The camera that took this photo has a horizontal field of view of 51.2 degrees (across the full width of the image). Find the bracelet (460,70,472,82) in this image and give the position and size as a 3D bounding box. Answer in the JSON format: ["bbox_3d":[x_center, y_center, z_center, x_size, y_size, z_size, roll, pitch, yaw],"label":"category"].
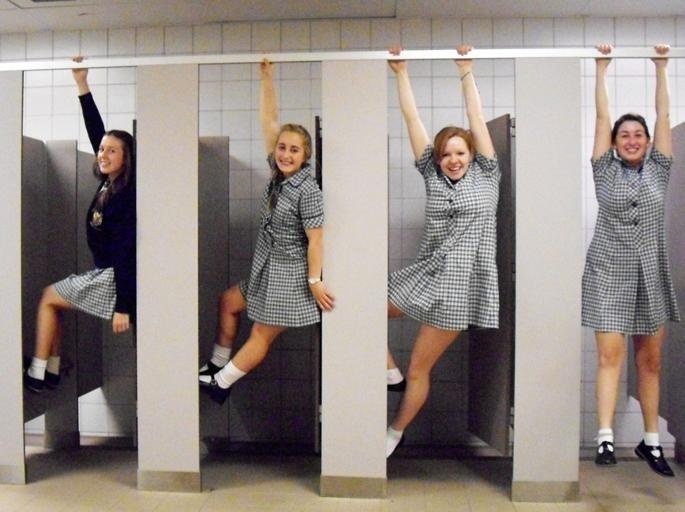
[{"bbox_3d":[0.692,-1.012,3.988,0.038,0.061,0.036,43,11,21],"label":"bracelet"}]

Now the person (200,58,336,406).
[{"bbox_3d":[-0.434,-0.102,4.050,0.769,1.940,0.458,-1,14,-2],"label":"person"}]

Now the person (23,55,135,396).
[{"bbox_3d":[-1.536,-0.126,4.216,0.672,1.875,0.545,-2,14,-7],"label":"person"}]

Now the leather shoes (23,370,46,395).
[{"bbox_3d":[-1.824,0.760,4.221,0.063,0.078,0.168,3,12,-43],"label":"leather shoes"}]

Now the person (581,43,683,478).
[{"bbox_3d":[1.625,0.058,4.009,0.565,2.372,0.720,0,14,1],"label":"person"}]

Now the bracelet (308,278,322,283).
[{"bbox_3d":[-0.156,0.141,3.935,0.045,0.032,0.047,0,-7,-22],"label":"bracelet"}]

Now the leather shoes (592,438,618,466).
[{"bbox_3d":[1.454,1.095,3.947,0.096,0.137,0.121,4,16,17],"label":"leather shoes"}]

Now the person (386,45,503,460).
[{"bbox_3d":[0.562,0.020,3.997,0.624,2.142,0.457,0,14,2],"label":"person"}]
